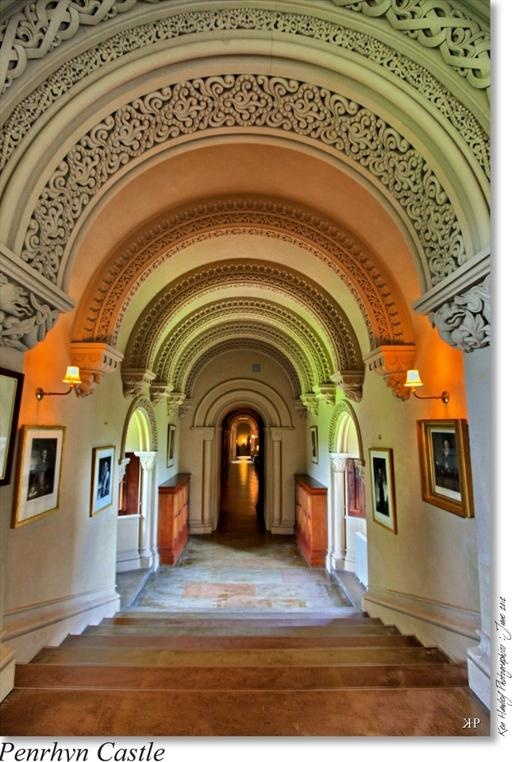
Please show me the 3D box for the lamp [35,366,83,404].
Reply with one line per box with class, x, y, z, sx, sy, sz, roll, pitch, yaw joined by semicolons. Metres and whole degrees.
lamp;-1.540;0.022;3.568;0.298;0.259;0.169;-2;1;-6
